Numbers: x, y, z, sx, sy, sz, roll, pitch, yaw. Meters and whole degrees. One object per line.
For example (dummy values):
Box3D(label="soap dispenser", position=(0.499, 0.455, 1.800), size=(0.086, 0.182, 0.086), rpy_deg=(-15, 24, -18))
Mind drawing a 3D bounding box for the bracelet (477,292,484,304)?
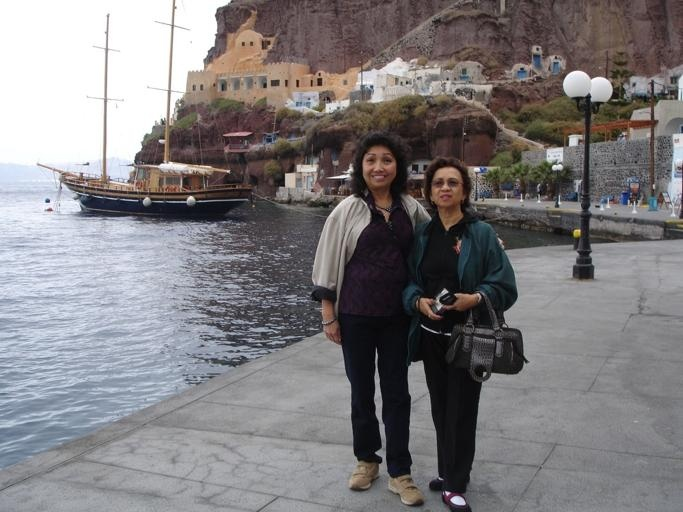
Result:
Box3D(label="bracelet", position=(0.986, 0.302, 4.403), size=(0.035, 0.089, 0.030), rpy_deg=(21, -15, -33))

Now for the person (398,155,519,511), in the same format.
Box3D(label="person", position=(0.800, 0.490, 4.533), size=(0.784, 2.403, 0.711), rpy_deg=(-8, 9, -41))

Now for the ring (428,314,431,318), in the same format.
Box3D(label="ring", position=(0.629, 0.431, 4.429), size=(0.033, 0.032, 0.033), rpy_deg=(0, 6, 0))

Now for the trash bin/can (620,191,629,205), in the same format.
Box3D(label="trash bin/can", position=(16.790, -3.397, 36.631), size=(0.364, 0.753, 0.701), rpy_deg=(0, 8, 14))

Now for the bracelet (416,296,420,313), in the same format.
Box3D(label="bracelet", position=(0.557, 0.349, 4.459), size=(0.020, 0.090, 0.057), rpy_deg=(-6, 8, -27))

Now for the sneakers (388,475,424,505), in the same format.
Box3D(label="sneakers", position=(0.462, 1.659, 4.382), size=(0.112, 0.110, 0.261), rpy_deg=(0, -2, -30))

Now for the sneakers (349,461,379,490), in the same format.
Box3D(label="sneakers", position=(0.164, 1.602, 4.499), size=(0.107, 0.135, 0.296), rpy_deg=(-1, -11, 25))
